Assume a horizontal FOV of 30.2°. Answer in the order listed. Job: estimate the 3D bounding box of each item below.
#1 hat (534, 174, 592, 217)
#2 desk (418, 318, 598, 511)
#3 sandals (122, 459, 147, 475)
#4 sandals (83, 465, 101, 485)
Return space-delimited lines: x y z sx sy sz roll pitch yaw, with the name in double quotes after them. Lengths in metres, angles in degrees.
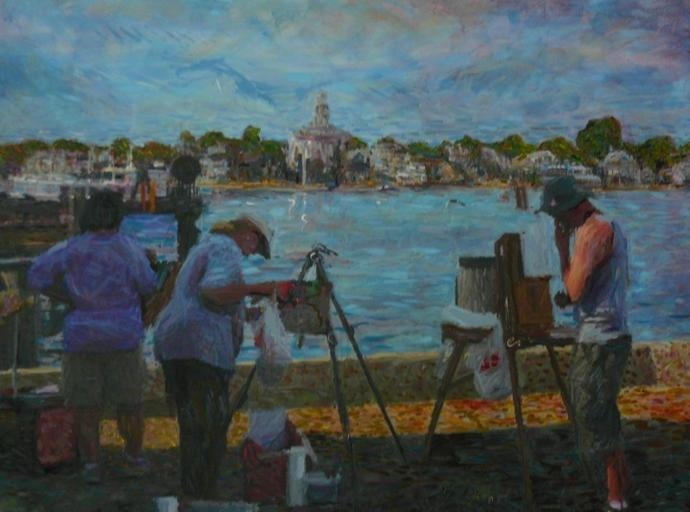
2.091 -0.576 12.277 0.403 0.220 0.391 -31 10 -9 "hat"
1.333 1.412 12.420 1.675 1.727 1.363 -5 6 -40 "desk"
-1.974 2.015 12.136 0.179 0.140 0.043 14 -6 -10 "sandals"
-2.397 2.087 12.123 0.160 0.181 0.024 -1 -2 -5 "sandals"
